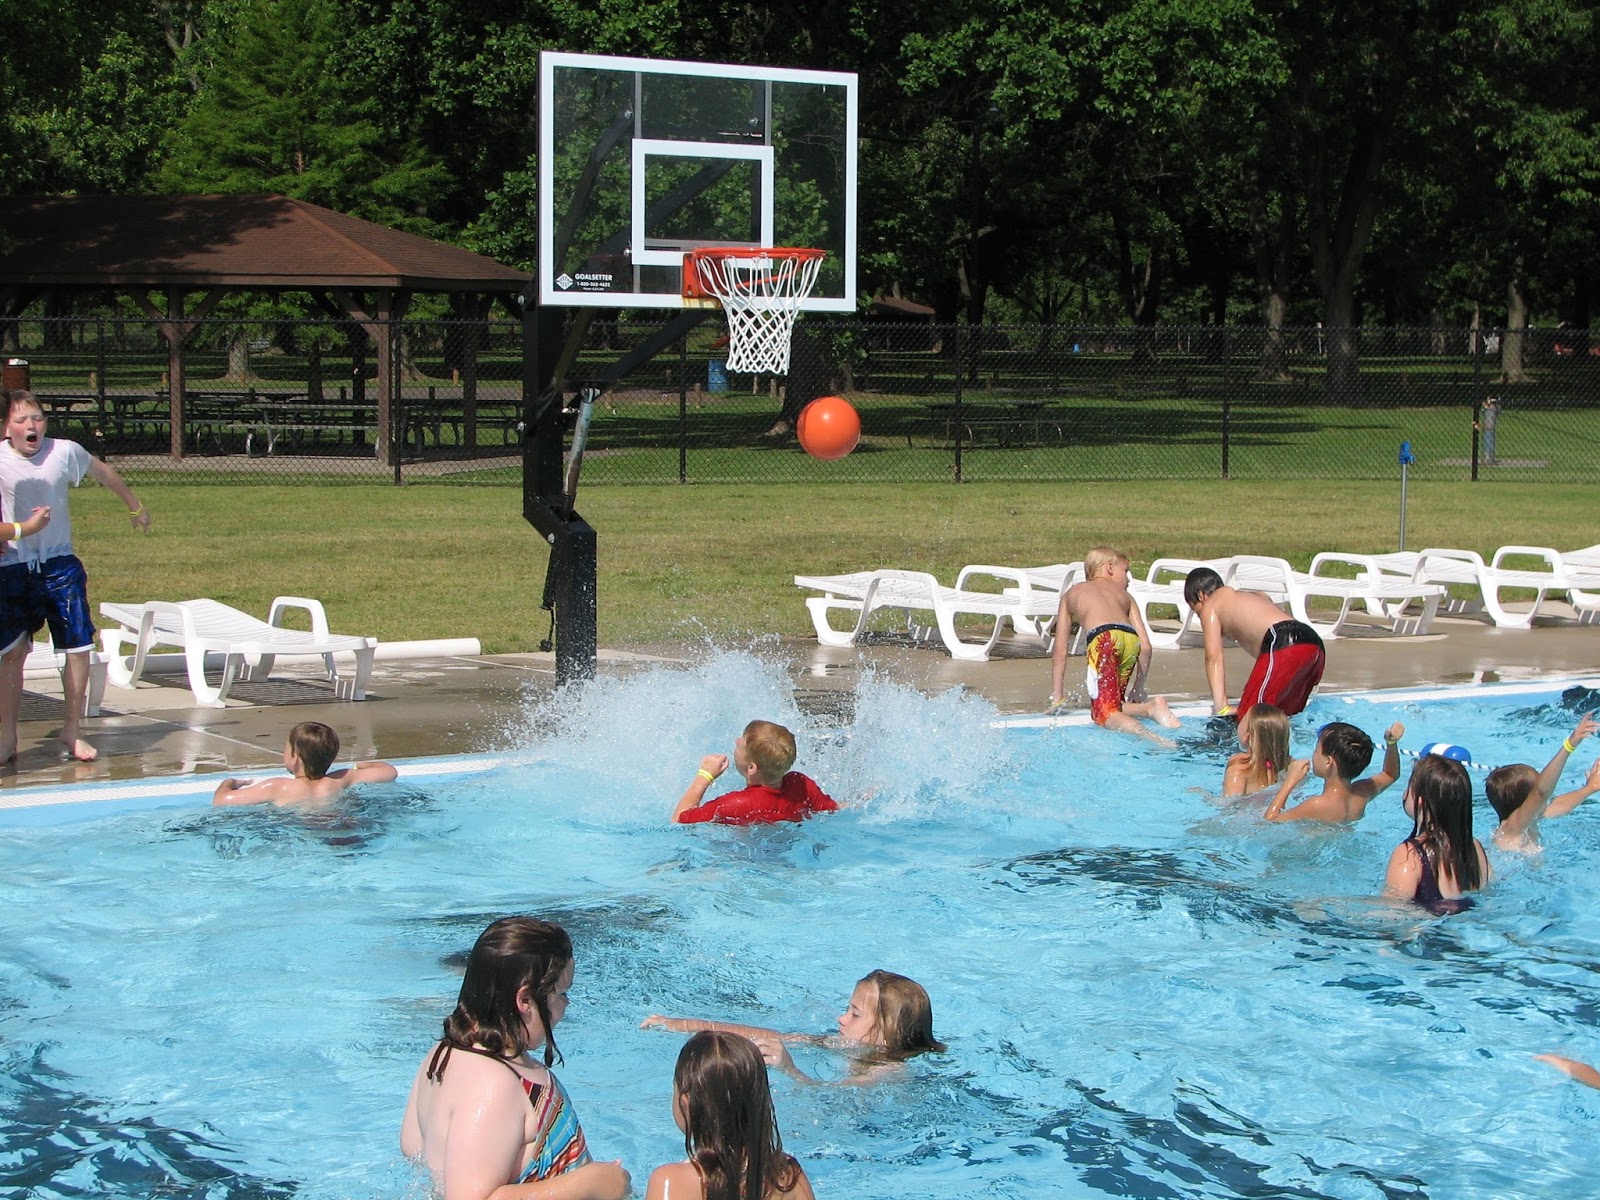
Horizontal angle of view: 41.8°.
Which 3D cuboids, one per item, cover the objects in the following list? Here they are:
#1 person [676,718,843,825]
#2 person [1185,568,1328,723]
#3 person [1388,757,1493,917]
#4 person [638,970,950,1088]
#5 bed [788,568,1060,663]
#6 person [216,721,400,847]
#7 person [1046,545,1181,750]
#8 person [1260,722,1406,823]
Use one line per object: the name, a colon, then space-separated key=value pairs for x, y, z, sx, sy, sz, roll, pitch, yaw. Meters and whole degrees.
person: x=-0.319 y=1.147 z=13.831 sx=0.934 sy=0.754 sz=0.554 roll=0 pitch=5 yaw=-1
person: x=3.330 y=0.359 z=16.114 sx=0.607 sy=1.135 sz=0.993 roll=-5 pitch=7 yaw=-42
person: x=3.824 y=1.429 z=12.887 sx=0.582 sy=1.027 sz=0.704 roll=1 pitch=5 yaw=12
person: x=-0.091 y=2.384 z=11.286 sx=1.604 sy=0.835 sz=0.579 roll=4 pitch=16 yaw=6
bed: x=1.179 y=0.118 z=19.783 sx=1.203 sy=0.507 sz=1.700 roll=-2 pitch=4 yaw=-39
person: x=-3.306 y=1.198 z=14.164 sx=1.197 sy=0.769 sz=0.718 roll=-1 pitch=5 yaw=-13
person: x=2.410 y=0.510 z=16.451 sx=0.746 sy=2.119 sz=1.074 roll=11 pitch=-24 yaw=-20
person: x=3.477 y=1.140 z=14.197 sx=0.845 sy=0.729 sz=1.031 roll=1 pitch=5 yaw=12
